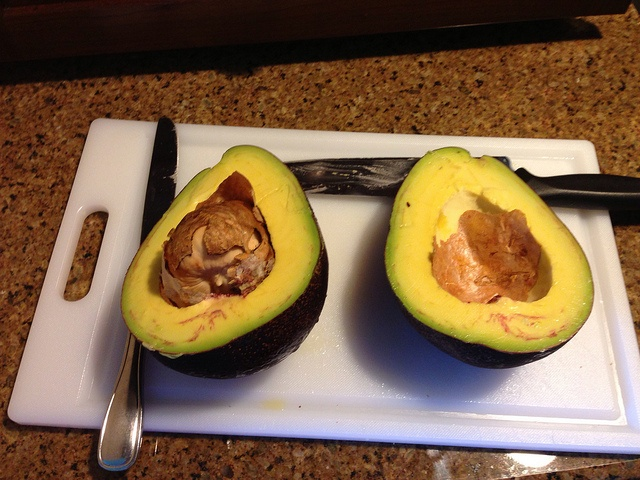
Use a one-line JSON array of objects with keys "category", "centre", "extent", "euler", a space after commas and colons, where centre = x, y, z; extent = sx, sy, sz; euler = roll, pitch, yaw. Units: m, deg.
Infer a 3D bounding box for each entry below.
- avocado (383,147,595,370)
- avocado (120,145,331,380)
[{"category": "avocado", "centre": [0.275, 0.051, 0.984], "extent": [0.319, 0.148, 0.393], "euler": [-10, 58, -12]}, {"category": "avocado", "centre": [-0.131, 0.049, 0.982], "extent": [0.327, 0.241, 0.388], "euler": [6, 61, 17]}]
